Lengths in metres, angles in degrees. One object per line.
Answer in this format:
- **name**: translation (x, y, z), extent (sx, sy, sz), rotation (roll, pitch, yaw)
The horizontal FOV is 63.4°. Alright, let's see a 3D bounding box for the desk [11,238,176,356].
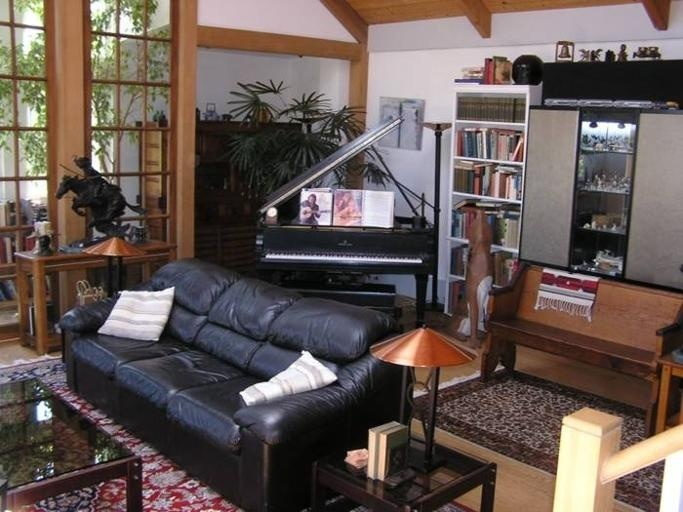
- **desk**: translation (-2.606, 0.390, 5.834), extent (1.338, 0.807, 0.472), rotation (-6, -2, -41)

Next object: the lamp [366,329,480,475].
- **lamp**: translation (0.383, 0.708, 2.628), extent (0.589, 0.760, 0.558), rotation (2, -19, -1)

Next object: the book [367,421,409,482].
- **book**: translation (0.230, 0.989, 2.775), extent (0.230, 0.208, 0.127), rotation (-8, 13, -40)

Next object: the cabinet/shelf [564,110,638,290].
- **cabinet/shelf**: translation (2.391, -0.564, 5.083), extent (0.179, 1.501, 0.567), rotation (-11, 16, -42)

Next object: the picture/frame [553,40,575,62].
- **picture/frame**: translation (2.305, -2.096, 5.712), extent (0.202, 0.234, 0.496), rotation (7, 13, 19)

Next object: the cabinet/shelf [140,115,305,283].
- **cabinet/shelf**: translation (-1.502, -0.817, 8.200), extent (0.827, 2.221, 2.392), rotation (-12, 9, -36)

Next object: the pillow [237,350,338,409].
- **pillow**: translation (-0.337, 0.728, 3.357), extent (0.398, 0.102, 0.259), rotation (-15, 25, -28)
